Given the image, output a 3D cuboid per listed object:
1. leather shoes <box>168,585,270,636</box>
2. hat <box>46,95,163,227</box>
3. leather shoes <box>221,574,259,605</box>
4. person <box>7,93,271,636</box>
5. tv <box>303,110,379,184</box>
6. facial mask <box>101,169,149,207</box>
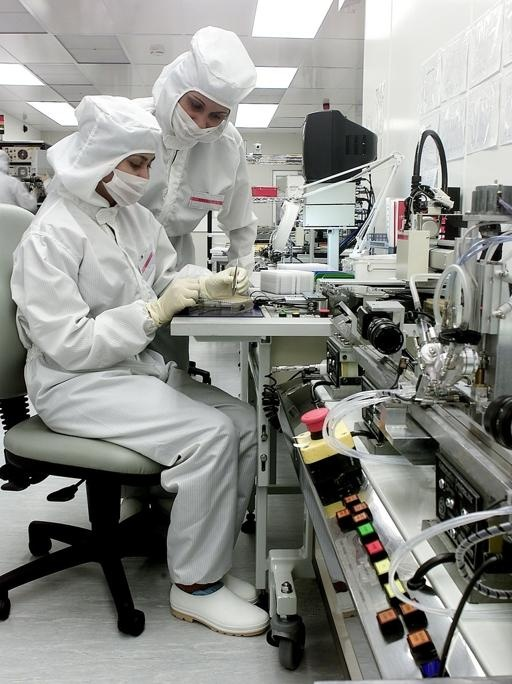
[{"bbox_3d":[-0.093,0.685,1.337,0.238,0.087,0.108,1,0,17],"label":"leather shoes"},{"bbox_3d":[-0.389,-0.495,1.415,0.304,0.278,0.287,5,44,-11],"label":"hat"},{"bbox_3d":[-0.041,0.670,1.363,0.040,0.046,0.117,4,-8,-25],"label":"leather shoes"},{"bbox_3d":[-0.293,0.029,1.415,0.674,1.411,0.499,1,5,1],"label":"person"},{"bbox_3d":[0.395,-0.929,2.529,0.365,0.312,0.369,0,9,2],"label":"tv"},{"bbox_3d":[-0.349,-0.412,1.346,0.085,0.049,0.072,28,18,2],"label":"facial mask"}]
